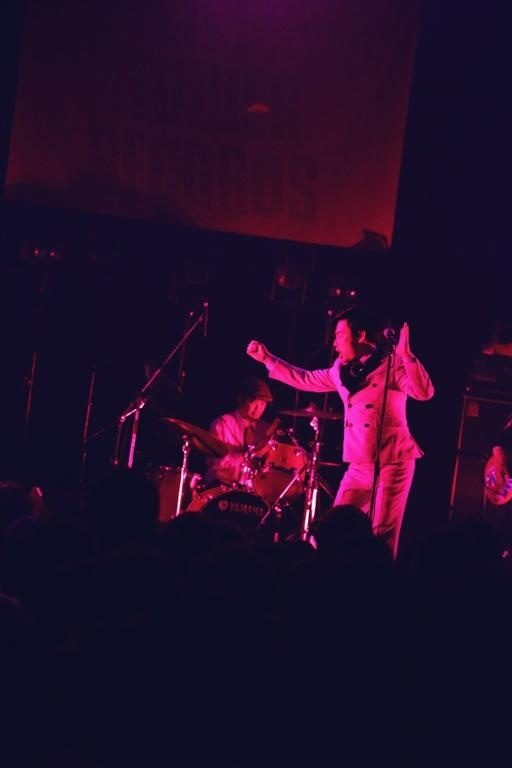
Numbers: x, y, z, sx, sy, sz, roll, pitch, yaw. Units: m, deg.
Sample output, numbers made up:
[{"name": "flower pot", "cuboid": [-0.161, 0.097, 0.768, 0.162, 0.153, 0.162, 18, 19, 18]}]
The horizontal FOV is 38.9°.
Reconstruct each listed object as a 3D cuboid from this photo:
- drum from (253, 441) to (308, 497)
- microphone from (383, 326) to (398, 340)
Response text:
[{"name": "drum", "cuboid": [0.108, 0.427, 3.563, 0.251, 0.244, 0.251, 23, -33, 1]}, {"name": "microphone", "cuboid": [0.656, -0.250, 3.527, 0.050, 0.049, 0.028, 11, 24, 0]}]
